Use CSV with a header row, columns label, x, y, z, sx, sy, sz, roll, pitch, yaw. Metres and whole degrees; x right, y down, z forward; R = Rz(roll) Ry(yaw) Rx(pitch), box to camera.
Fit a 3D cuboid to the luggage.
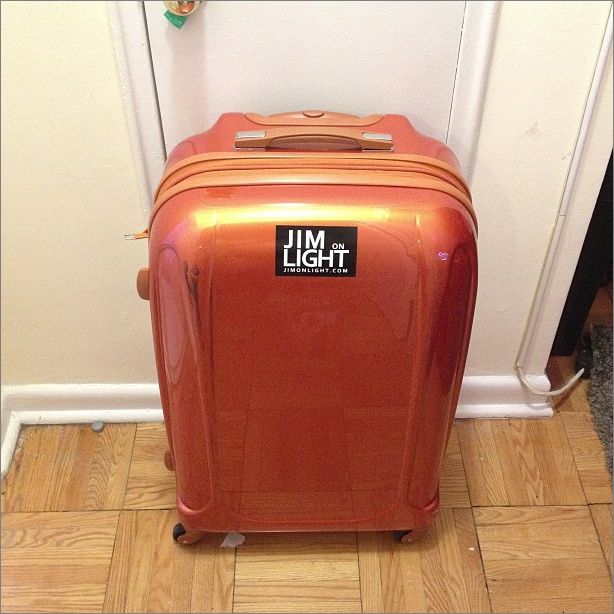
label,x,y,z,sx,sy,sz,roll,pitch,yaw
luggage,0.005,0.050,0.778,0.385,0.555,0.276,-1,41,0
